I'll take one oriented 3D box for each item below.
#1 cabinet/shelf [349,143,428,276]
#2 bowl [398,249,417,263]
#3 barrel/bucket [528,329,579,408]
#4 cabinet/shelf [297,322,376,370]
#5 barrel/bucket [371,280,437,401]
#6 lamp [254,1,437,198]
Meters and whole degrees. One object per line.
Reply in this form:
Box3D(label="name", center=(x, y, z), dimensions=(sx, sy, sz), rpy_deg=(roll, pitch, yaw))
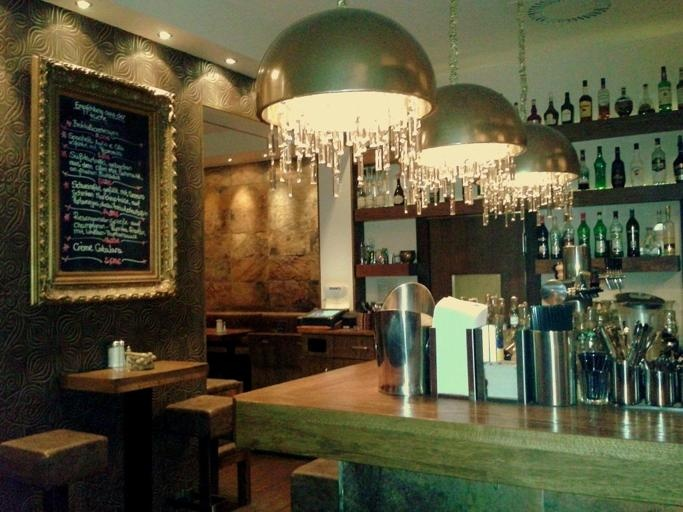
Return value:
Box3D(label="cabinet/shelf", center=(0.458, -0.692, 6.702), dimensions=(0.514, 0.908, 0.262), rpy_deg=(-15, -35, 8))
Box3D(label="bowl", center=(0.700, 0.006, 6.624), dimensions=(0.136, 0.102, 0.138), rpy_deg=(0, 3, 0))
Box3D(label="barrel/bucket", center=(1.013, 0.527, 2.992), dimensions=(0.287, 0.353, 0.285), rpy_deg=(-1, -3, 0))
Box3D(label="cabinet/shelf", center=(-0.046, 1.074, 6.568), dimensions=(0.630, 0.599, 0.256), rpy_deg=(-1, 2, 18))
Box3D(label="barrel/bucket", center=(0.325, 0.420, 3.302), dimensions=(0.359, 0.531, 0.346), rpy_deg=(-2, -3, 0))
Box3D(label="lamp", center=(0.044, -0.849, 3.061), dimensions=(0.952, 1.048, 0.944), rpy_deg=(-1, -6, 4))
